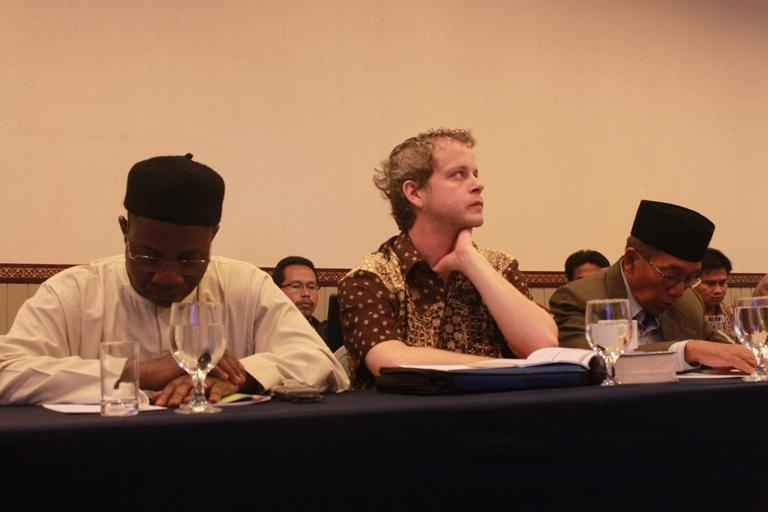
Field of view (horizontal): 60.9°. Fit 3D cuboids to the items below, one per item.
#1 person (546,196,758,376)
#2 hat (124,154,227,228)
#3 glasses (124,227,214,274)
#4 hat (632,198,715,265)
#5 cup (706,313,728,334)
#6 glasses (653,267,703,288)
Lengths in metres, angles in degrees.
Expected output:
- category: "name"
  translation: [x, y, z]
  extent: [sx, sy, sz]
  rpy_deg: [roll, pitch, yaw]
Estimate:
- category: "person"
  translation: [1.152, 0.105, 2.709]
  extent: [0.671, 0.592, 0.831]
  rpy_deg: [6, -13, -23]
- category: "hat"
  translation: [-0.688, -0.212, 2.170]
  extent: [0.269, 0.181, 0.268]
  rpy_deg: [13, 1, -1]
- category: "glasses"
  translation: [-0.720, 0.009, 2.145]
  extent: [0.287, 0.105, 0.120]
  rpy_deg: [2, -6, 1]
- category: "hat"
  translation: [1.225, -0.109, 2.835]
  extent: [0.285, 0.174, 0.281]
  rpy_deg: [16, 14, -9]
- category: "cup"
  translation: [1.456, 0.297, 2.869]
  extent: [0.105, 0.099, 0.104]
  rpy_deg: [-1, 2, 0]
- category: "glasses"
  translation: [1.254, 0.087, 2.807]
  extent: [0.162, 0.047, 0.158]
  rpy_deg: [6, 17, -33]
